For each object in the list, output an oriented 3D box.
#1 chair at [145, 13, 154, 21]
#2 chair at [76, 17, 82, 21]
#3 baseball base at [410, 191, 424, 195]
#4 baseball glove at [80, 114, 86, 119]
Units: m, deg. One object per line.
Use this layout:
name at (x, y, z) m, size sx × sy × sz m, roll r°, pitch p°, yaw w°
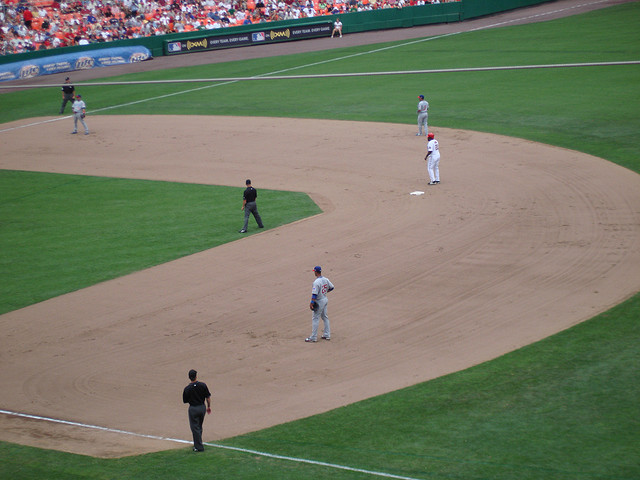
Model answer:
chair at (-12.978, -17.007, 91.630) m, size 0.426 × 0.555 × 0.699 m, roll 7°, pitch 22°, yaw 26°
chair at (-17.587, -16.277, 88.473) m, size 0.184 × 0.178 × 0.434 m, roll 11°, pitch 22°, yaw 36°
baseball base at (4.422, -2.154, 54.498) m, size 0.551 × 0.083 × 0.346 m, roll 3°, pitch 17°, yaw 18°
baseball glove at (-12.636, -6.660, 64.428) m, size 0.320 × 0.138 × 0.239 m, roll -6°, pitch -7°, yaw -11°
